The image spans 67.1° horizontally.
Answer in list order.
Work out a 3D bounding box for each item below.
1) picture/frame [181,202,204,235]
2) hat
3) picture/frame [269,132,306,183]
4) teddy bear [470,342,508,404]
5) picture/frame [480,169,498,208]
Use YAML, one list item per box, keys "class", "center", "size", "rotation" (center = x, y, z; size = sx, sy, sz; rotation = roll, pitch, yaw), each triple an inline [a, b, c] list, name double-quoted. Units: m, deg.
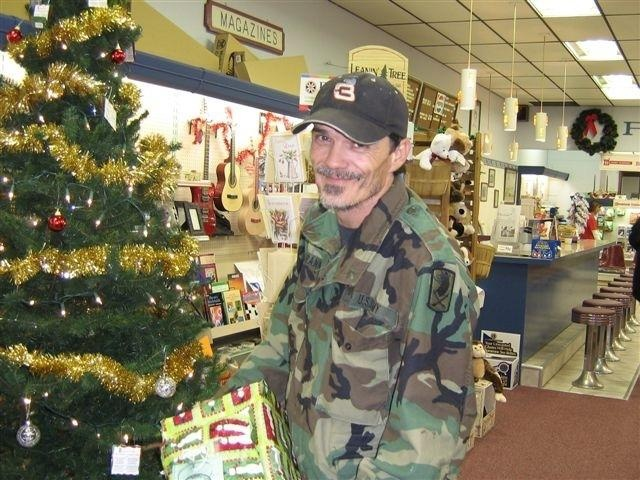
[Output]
- class: "picture/frame"
  center: [-0.963, -0.169, 3.785]
  size: [0.152, 0.235, 0.134]
  rotation: [-7, 19, 5]
- class: "hat"
  center: [0.134, -0.435, 1.589]
  size: [0.316, 0.238, 0.452]
  rotation: [12, 11, 20]
- class: "picture/frame"
  center: [-0.202, -0.520, 3.100]
  size: [0.262, 0.296, 0.076]
  rotation: [1, 8, 31]
- class: "teddy bear"
  center: [1.481, 1.206, 4.434]
  size: [0.313, 0.506, 0.405]
  rotation: [-4, 2, -27]
- class: "picture/frame"
  center: [4.732, -1.442, 13.354]
  size: [0.332, 1.102, 1.834]
  rotation: [3, 4, 25]
